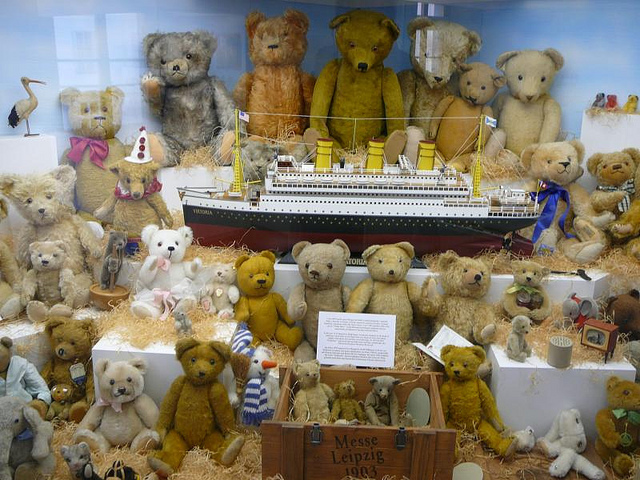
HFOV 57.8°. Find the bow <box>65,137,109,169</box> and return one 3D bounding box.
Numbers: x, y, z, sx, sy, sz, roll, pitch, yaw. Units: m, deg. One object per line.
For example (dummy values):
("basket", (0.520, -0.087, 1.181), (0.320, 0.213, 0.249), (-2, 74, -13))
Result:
("bow", (-2.273, -0.835, 5.653), (0.345, 0.282, 0.055), (2, -6, -12))

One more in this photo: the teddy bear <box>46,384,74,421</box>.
("teddy bear", (-1.989, 1.244, 4.454), (0.169, 0.284, 0.174), (6, -17, -19))

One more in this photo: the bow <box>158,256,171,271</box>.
("bow", (-1.278, 0.195, 4.761), (0.102, 0.118, 0.051), (-5, 15, -20))

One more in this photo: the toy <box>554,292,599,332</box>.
("toy", (2.033, 0.620, 4.630), (0.183, 0.361, 0.342), (-4, 7, -22))

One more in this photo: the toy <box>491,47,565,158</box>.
("toy", (2.043, -1.338, 5.906), (0.729, 1.143, 0.744), (11, 42, 22))

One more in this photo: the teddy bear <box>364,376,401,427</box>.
("teddy bear", (0.439, 1.142, 4.063), (0.238, 0.367, 0.247), (0, 1, 7))

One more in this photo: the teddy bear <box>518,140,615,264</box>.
("teddy bear", (2.224, -0.353, 5.380), (0.658, 1.064, 0.891), (-8, 19, -17))

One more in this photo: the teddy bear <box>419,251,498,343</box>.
("teddy bear", (1.111, 0.505, 4.659), (0.613, 0.855, 0.489), (6, -7, 0))

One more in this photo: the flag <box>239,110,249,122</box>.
("flag", (-0.704, -1.121, 5.274), (0.028, 0.109, 0.107), (-11, -6, 15))

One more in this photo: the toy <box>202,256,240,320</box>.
("toy", (-0.819, 0.397, 4.764), (0.276, 0.473, 0.258), (8, 9, 9))

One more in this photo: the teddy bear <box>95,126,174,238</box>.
("teddy bear", (-1.686, -0.503, 5.229), (0.651, 1.093, 0.644), (-1, 29, -24))

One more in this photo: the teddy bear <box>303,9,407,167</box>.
("teddy bear", (0.393, -1.495, 5.924), (1.136, 1.781, 1.183), (2, 38, 1))

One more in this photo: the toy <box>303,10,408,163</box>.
("toy", (0.339, -1.457, 5.916), (0.991, 1.534, 1.023), (-9, 44, -12))

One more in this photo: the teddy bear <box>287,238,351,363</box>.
("teddy bear", (-0.009, 0.479, 4.658), (0.503, 0.909, 0.514), (1, 14, 3))

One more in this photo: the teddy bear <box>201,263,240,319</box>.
("teddy bear", (-0.824, 0.402, 4.757), (0.290, 0.474, 0.267), (7, 13, 7))

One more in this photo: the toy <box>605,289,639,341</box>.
("toy", (2.447, 0.599, 4.729), (0.244, 0.352, 0.344), (2, -7, -1))

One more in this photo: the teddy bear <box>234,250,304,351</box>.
("teddy bear", (-0.430, 0.505, 4.697), (0.515, 0.812, 0.540), (-6, 15, -2))

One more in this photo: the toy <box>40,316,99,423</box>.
("toy", (-1.988, 0.995, 4.454), (0.490, 0.759, 0.510), (1, 14, -11))

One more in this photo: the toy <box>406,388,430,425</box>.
("toy", (0.693, 1.158, 4.049), (0.176, 0.275, 0.060), (-18, -17, 32))

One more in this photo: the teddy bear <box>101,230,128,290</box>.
("teddy bear", (-1.714, 0.178, 4.814), (0.249, 0.516, 0.128), (9, 16, 32))

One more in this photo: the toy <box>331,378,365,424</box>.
("toy", (0.176, 1.139, 4.092), (0.222, 0.329, 0.180), (3, -24, -17))

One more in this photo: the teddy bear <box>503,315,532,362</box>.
("teddy bear", (1.475, 0.718, 4.293), (0.186, 0.345, 0.210), (7, 12, 29))

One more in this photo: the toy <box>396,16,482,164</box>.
("toy", (1.175, -1.509, 6.080), (0.819, 1.428, 0.874), (1, 41, 0))

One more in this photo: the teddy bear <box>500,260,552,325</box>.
("teddy bear", (1.615, 0.426, 4.794), (0.453, 0.728, 0.437), (1, -7, 9))

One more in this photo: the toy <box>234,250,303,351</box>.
("toy", (-0.421, 0.510, 4.687), (0.522, 0.790, 0.545), (-5, 14, 4))

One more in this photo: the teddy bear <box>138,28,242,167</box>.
("teddy bear", (-1.357, -1.428, 5.894), (1.147, 1.700, 0.924), (-2, 19, -7))

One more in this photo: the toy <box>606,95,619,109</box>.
("toy", (2.840, -1.341, 5.649), (0.128, 0.162, 0.107), (0, -5, 7))

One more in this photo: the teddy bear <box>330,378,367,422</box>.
("teddy bear", (0.191, 1.148, 4.092), (0.238, 0.335, 0.185), (-3, -19, 6))

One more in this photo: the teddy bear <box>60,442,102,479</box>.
("teddy bear", (-1.544, 1.443, 3.803), (0.148, 0.237, 0.292), (-3, -13, -6))

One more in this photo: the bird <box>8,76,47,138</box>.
("bird", (-2.730, -1.279, 5.408), (0.356, 0.462, 0.166), (-8, 16, -31))

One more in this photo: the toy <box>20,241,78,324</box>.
("toy", (-2.233, 0.349, 4.800), (0.392, 0.628, 0.445), (13, 19, 15))

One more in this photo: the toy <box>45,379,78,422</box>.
("toy", (-1.997, 1.237, 4.462), (0.199, 0.285, 0.175), (4, -13, -12))

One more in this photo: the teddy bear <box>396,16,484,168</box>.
("teddy bear", (1.153, -1.448, 6.055), (0.906, 1.540, 0.965), (2, 36, 0))

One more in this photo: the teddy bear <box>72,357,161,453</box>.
("teddy bear", (-1.459, 1.209, 4.191), (0.615, 0.668, 0.394), (-1, 6, -17))

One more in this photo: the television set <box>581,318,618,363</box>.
("television set", (2.077, 0.777, 4.349), (0.164, 0.296, 0.209), (-7, 16, -42))

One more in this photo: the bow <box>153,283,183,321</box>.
("bow", (-1.226, 0.521, 4.649), (0.263, 0.058, 0.334), (6, 47, -18))

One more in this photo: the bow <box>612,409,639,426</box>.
("bow", (2.167, 1.244, 4.112), (0.171, 0.083, 0.056), (5, 15, 16))

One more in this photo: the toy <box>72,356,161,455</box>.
("toy", (-1.455, 1.209, 4.186), (0.612, 0.688, 0.404), (-1, 11, -13))

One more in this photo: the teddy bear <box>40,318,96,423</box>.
("teddy bear", (-1.949, 0.987, 4.446), (0.441, 0.763, 0.473), (6, 11, -3))

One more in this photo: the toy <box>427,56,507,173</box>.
("toy", (1.458, -1.231, 5.894), (0.774, 1.144, 0.717), (2, 19, -42))

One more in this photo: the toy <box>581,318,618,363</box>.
("toy", (2.067, 0.761, 4.299), (0.168, 0.340, 0.236), (-8, 12, -43))

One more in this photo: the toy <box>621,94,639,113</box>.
("toy", (3.005, -1.313, 5.614), (0.134, 0.158, 0.411), (8, 17, 28))

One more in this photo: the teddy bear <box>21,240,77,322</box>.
("teddy bear", (-2.231, 0.348, 4.740), (0.425, 0.586, 0.398), (-3, 15, -13))

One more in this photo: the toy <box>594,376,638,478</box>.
("toy", (2.112, 1.317, 4.114), (0.279, 0.651, 0.230), (8, 16, 30))

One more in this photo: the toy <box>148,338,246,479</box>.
("toy", (-0.865, 1.149, 4.092), (0.661, 0.888, 0.441), (-2, 14, -11))

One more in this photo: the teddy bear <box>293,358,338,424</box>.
("teddy bear", (-0.024, 1.097, 4.049), (0.322, 0.499, 0.261), (-9, -8, -21))

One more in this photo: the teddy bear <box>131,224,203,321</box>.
("teddy bear", (-1.244, 0.234, 4.936), (0.679, 0.959, 0.655), (0, 4, -11))

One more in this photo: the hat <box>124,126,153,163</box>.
("hat", (-1.591, -0.852, 5.254), (0.279, 0.351, 0.293), (2, 5, -13))

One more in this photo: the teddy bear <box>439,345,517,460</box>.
("teddy bear", (1.090, 1.155, 4.098), (0.584, 0.725, 0.599), (0, 15, 29))

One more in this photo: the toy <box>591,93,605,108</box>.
("toy", (2.749, -1.367, 5.716), (0.111, 0.138, 0.176), (7, 16, 25))

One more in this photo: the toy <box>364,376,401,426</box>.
("toy", (0.430, 1.122, 4.113), (0.254, 0.387, 0.308), (0, 0, -3))

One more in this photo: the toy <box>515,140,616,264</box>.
("toy", (2.237, -0.340, 5.388), (0.755, 1.065, 0.838), (-12, 22, -39))

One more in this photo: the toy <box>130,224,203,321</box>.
("toy", (-1.251, 0.243, 4.931), (0.684, 0.943, 0.643), (0, 2, -9))

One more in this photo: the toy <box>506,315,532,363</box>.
("toy", (1.476, 0.723, 4.297), (0.187, 0.343, 0.201), (6, 9, 34))

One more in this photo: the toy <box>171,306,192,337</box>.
("toy", (-1.069, 0.624, 4.480), (0.134, 0.221, 0.140), (-5, 4, -4))
